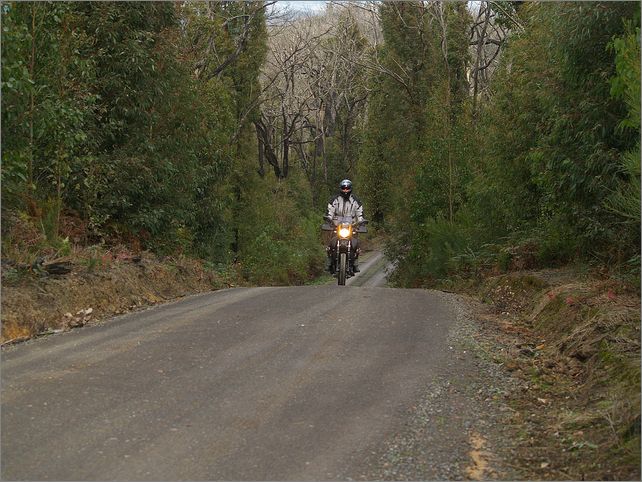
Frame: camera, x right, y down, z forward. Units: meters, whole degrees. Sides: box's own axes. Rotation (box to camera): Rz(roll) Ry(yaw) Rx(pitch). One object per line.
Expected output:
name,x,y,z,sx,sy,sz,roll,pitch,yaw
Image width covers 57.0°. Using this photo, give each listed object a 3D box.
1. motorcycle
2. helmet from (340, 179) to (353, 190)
motorcycle,0.708,0.247,17.664,1.207,2.006,1.246,-1,8,0
helmet,0.777,-1.746,18.163,0.254,0.334,0.366,-1,-6,0
